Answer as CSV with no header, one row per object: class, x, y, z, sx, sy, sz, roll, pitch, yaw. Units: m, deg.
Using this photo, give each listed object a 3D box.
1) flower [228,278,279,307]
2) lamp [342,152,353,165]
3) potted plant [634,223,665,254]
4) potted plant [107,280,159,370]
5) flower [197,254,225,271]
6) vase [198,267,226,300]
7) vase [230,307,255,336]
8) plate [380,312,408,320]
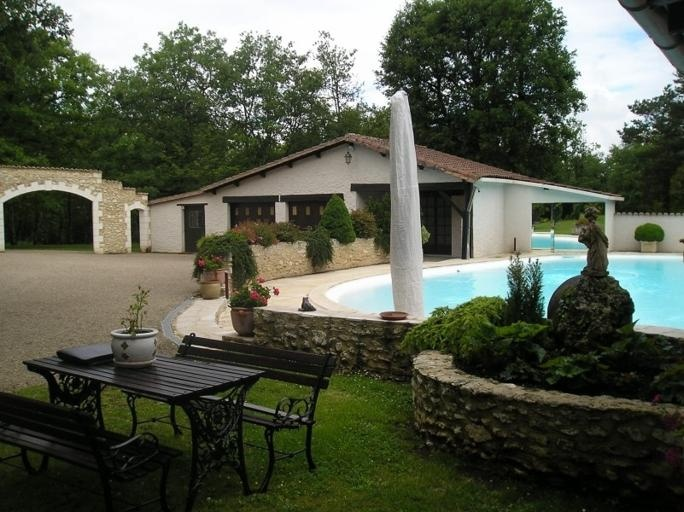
flower,-1.588,0.645,8.460,0.679,0.502,0.738,0,6,-34
lamp,0.223,-4.197,21.481,0.296,0.500,0.385,-1,0,-38
potted plant,13.434,-0.784,22.250,1.426,1.499,1.216,0,2,-20
potted plant,-1.826,0.634,4.403,0.436,0.597,0.396,-2,3,-31
flower,-3.114,0.151,11.736,0.406,0.255,0.415,0,2,36
vase,-3.095,0.653,11.763,0.526,0.529,0.765,0,-4,-3
vase,-1.604,1.026,8.213,0.538,0.411,0.487,1,-5,0
plate,0.654,0.759,6.411,0.351,0.098,0.375,-1,0,5
